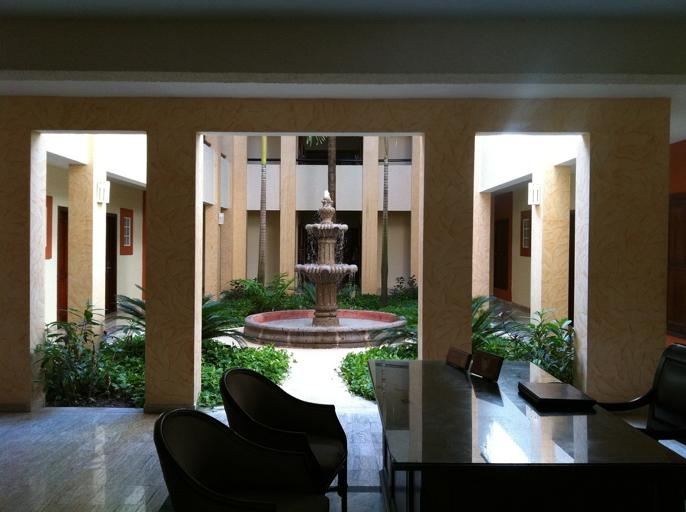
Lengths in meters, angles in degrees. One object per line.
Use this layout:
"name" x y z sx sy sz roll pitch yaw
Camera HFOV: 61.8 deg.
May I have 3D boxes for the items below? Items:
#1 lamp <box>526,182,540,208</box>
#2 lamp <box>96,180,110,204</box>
"lamp" 2.570 -0.841 7.675 0.167 0.272 0.098 2 4 34
"lamp" -3.211 -0.858 7.657 0.154 0.328 0.341 -1 4 -18
